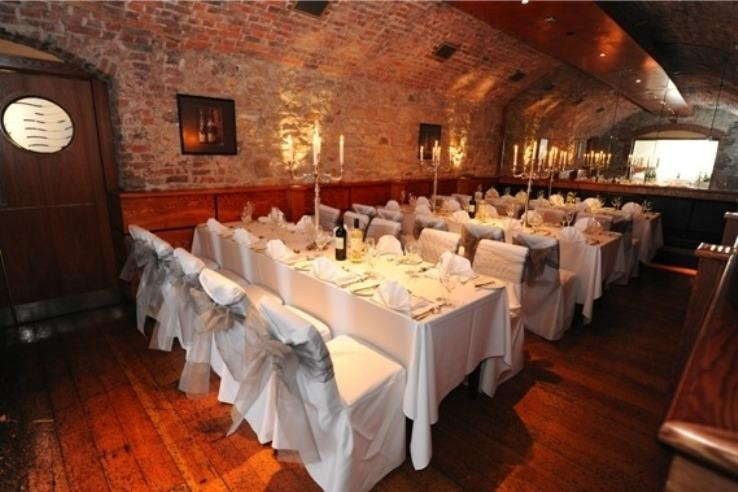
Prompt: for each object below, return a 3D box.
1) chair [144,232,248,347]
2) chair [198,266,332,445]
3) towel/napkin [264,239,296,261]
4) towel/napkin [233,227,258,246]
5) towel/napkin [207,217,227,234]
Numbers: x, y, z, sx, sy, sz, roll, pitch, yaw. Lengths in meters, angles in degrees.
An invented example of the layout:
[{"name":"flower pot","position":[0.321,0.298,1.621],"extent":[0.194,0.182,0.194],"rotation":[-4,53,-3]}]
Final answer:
[{"name":"chair","position":[-1.937,0.524,5.002],"extent":[0.861,1.039,0.736],"rotation":[34,42,19]},{"name":"chair","position":[-1.007,1.122,4.313],"extent":[0.599,1.062,1.357],"rotation":[-19,38,-40]},{"name":"towel/napkin","position":[-1.065,0.051,5.353],"extent":[0.306,0.113,0.234],"rotation":[28,40,24]},{"name":"towel/napkin","position":[-1.617,-0.117,5.817],"extent":[0.274,0.087,0.213],"rotation":[19,36,32]},{"name":"towel/napkin","position":[-2.161,-0.287,6.359],"extent":[0.216,0.118,0.276],"rotation":[-25,35,-33]}]
